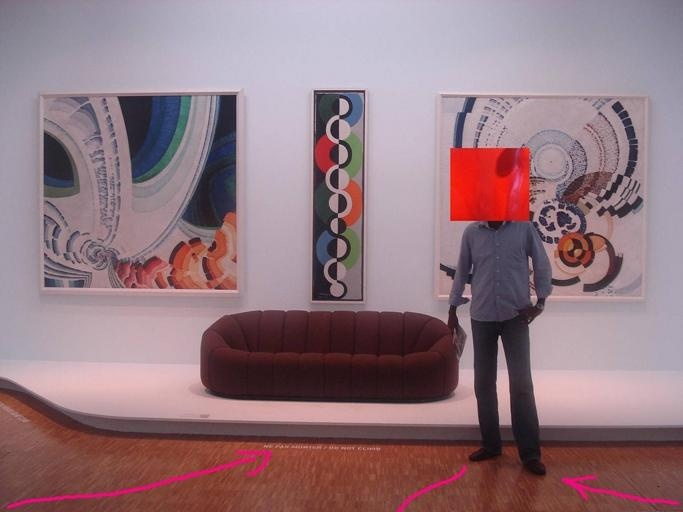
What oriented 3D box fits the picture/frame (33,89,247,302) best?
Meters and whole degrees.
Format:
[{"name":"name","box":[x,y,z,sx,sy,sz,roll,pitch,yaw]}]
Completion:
[{"name":"picture/frame","box":[-2.091,-0.712,5.477,2.077,2.270,0.082,0,0,-1]}]

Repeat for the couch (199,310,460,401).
[{"name":"couch","box":[-0.119,0.910,4.727,2.307,0.650,0.824,-2,8,3]}]

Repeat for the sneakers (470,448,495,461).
[{"name":"sneakers","box":[1.012,1.418,3.621,0.200,0.087,0.078,2,-3,-5]}]

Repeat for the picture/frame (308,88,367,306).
[{"name":"picture/frame","box":[-0.031,-0.635,5.390,0.610,2.208,0.272,-1,8,3]}]

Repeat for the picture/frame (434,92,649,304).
[{"name":"picture/frame","box":[2.025,-0.598,4.806,2.006,2.202,0.076,0,1,-3]}]
